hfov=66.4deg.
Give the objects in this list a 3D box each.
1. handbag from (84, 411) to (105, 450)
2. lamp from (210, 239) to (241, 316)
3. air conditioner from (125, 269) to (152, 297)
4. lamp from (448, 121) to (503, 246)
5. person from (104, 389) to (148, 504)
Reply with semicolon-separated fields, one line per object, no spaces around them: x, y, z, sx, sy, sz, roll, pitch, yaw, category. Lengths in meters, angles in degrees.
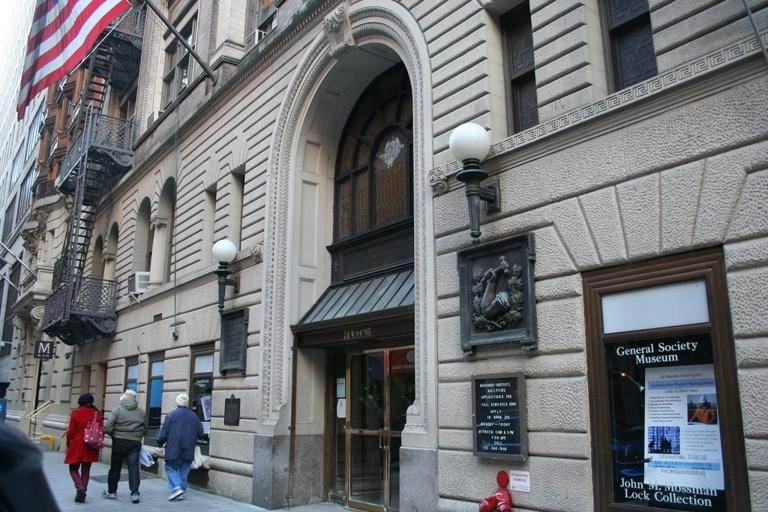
-7.283;4.368;14.739;0.446;0.953;0.890;10;-21;-25;handbag
-4.313;0.400;16.074;0.745;2.268;1.335;6;-19;-14;lamp
-9.275;1.117;22.184;0.755;1.337;1.330;5;-10;-36;air conditioner
1.577;-1.349;10.145;0.638;2.232;1.090;-7;-20;23;lamp
-6.544;4.773;14.845;1.018;2.730;0.929;10;-20;-25;person
